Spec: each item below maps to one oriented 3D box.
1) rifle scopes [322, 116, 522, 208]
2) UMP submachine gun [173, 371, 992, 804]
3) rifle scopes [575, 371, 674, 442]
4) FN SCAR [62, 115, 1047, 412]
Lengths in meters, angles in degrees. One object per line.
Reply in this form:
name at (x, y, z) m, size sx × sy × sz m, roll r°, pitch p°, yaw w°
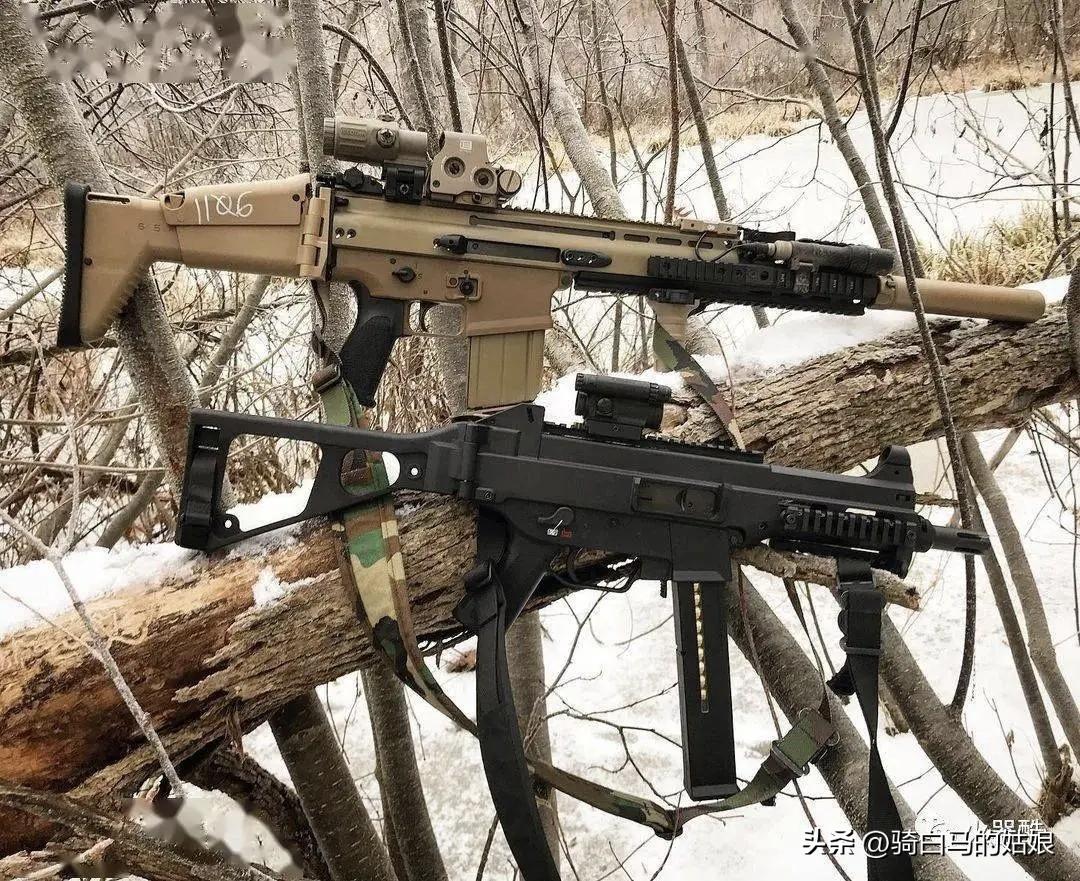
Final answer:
rifle scopes at (-0.646, -1.509, 5.456) m, size 1.055 × 0.424 × 0.276 m, roll 7°, pitch 10°, yaw -19°
UMP submachine gun at (0.208, 0.662, 4.849) m, size 4.058 × 1.926 × 0.468 m, roll 8°, pitch -8°, yaw 1°
rifle scopes at (0.383, -0.163, 4.810) m, size 0.377 × 0.252 × 0.298 m, roll 4°, pitch 4°, yaw -4°
FN SCAR at (0.233, -0.809, 5.700) m, size 5.510 × 1.643 × 0.565 m, roll 3°, pitch 16°, yaw -11°
